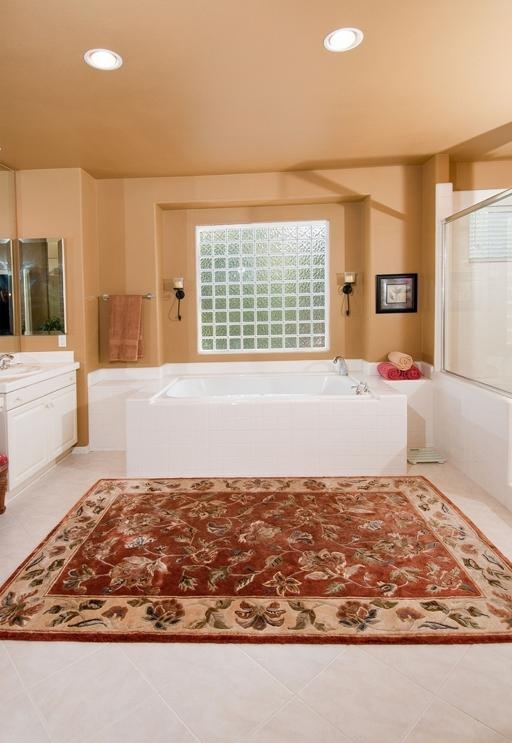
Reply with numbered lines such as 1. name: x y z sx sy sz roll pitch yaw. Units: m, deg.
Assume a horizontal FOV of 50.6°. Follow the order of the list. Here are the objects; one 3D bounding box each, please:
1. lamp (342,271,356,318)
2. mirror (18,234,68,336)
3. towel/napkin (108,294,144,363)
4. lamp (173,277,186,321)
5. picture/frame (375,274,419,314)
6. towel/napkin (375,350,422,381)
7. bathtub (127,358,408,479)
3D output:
1. lamp: 0.812 -0.677 4.760 0.121 0.382 0.154 0 9 8
2. mirror: -1.687 -0.665 4.261 0.338 0.736 0.124 -4 10 -18
3. towel/napkin: -1.122 -0.378 4.604 0.289 0.532 0.135 0 9 6
4. lamp: -0.685 -0.639 4.810 0.098 0.374 0.152 -2 9 -8
5. picture/frame: 1.170 -0.662 4.480 0.331 0.317 0.034 0 9 1
6. towel/napkin: 1.154 -0.047 4.386 0.216 0.149 0.310 0 3 -3
7. bathtub: 0.061 0.365 4.143 1.930 0.570 0.994 -1 9 1
